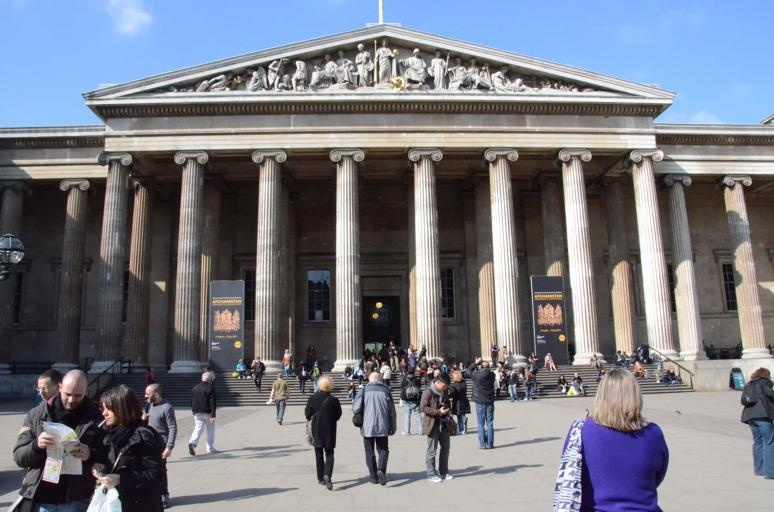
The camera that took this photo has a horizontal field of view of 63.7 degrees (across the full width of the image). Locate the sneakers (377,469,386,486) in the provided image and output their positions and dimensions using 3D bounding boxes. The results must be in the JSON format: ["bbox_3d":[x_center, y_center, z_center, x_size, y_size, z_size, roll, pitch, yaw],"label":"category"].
[{"bbox_3d":[-0.117,5.033,14.137,0.204,0.299,0.210,-1,-1,-2],"label":"sneakers"}]

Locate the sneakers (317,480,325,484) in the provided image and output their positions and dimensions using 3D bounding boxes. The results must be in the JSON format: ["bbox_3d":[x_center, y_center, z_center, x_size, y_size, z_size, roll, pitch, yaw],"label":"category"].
[{"bbox_3d":[-1.490,5.126,14.099,0.139,0.061,0.189,8,-18,-13],"label":"sneakers"}]

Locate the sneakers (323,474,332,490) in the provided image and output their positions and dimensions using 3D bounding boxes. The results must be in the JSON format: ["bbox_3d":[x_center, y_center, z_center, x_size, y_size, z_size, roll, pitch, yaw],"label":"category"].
[{"bbox_3d":[-1.305,5.056,13.848,0.128,0.281,0.141,-17,-11,30],"label":"sneakers"}]

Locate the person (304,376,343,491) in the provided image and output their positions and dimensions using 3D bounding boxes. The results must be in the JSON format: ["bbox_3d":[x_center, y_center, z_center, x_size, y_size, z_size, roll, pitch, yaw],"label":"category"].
[{"bbox_3d":[-1.448,4.014,14.240,0.774,2.387,1.016,-1,-1,-7],"label":"person"}]

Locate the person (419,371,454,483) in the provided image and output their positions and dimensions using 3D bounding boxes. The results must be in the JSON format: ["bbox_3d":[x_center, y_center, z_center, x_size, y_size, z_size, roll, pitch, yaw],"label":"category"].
[{"bbox_3d":[1.174,4.002,14.726,0.691,2.356,1.212,-1,-1,5],"label":"person"}]

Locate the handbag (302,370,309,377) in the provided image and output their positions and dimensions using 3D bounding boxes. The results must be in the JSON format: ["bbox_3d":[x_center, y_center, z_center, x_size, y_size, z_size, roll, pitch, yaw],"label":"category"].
[{"bbox_3d":[-3.705,5.308,28.041,0.321,0.159,0.422,2,-6,0],"label":"handbag"}]

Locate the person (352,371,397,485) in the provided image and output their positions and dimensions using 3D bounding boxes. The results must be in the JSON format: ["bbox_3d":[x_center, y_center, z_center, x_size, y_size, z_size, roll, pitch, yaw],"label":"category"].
[{"bbox_3d":[-0.292,3.943,14.328,0.958,2.499,0.572,-1,-1,-2],"label":"person"}]

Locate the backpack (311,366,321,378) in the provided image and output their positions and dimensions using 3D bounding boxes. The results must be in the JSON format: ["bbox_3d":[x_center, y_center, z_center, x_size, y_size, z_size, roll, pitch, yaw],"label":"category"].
[{"bbox_3d":[-3.279,5.379,28.895,0.559,0.680,0.399,0,-17,-1],"label":"backpack"}]

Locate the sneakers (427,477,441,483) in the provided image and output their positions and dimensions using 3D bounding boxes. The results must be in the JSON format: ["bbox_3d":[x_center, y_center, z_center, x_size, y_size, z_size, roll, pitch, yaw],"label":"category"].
[{"bbox_3d":[1.077,5.098,14.157,0.271,0.100,0.099,-6,-7,35],"label":"sneakers"}]

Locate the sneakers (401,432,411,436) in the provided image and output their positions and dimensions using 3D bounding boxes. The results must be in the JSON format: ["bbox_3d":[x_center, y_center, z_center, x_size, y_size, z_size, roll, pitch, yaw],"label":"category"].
[{"bbox_3d":[0.623,5.719,19.958,0.214,0.081,0.107,5,-13,-10],"label":"sneakers"}]

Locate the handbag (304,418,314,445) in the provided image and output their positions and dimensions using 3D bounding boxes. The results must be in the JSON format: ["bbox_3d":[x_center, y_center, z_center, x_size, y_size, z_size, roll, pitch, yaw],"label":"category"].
[{"bbox_3d":[-1.746,4.063,14.186,0.136,0.588,0.472,-1,-1,-10],"label":"handbag"}]

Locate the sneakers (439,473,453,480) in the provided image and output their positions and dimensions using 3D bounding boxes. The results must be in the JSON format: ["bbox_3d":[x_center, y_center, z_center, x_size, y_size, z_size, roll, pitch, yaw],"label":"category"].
[{"bbox_3d":[1.415,5.073,14.339,0.197,0.105,0.290,-1,-1,30],"label":"sneakers"}]
